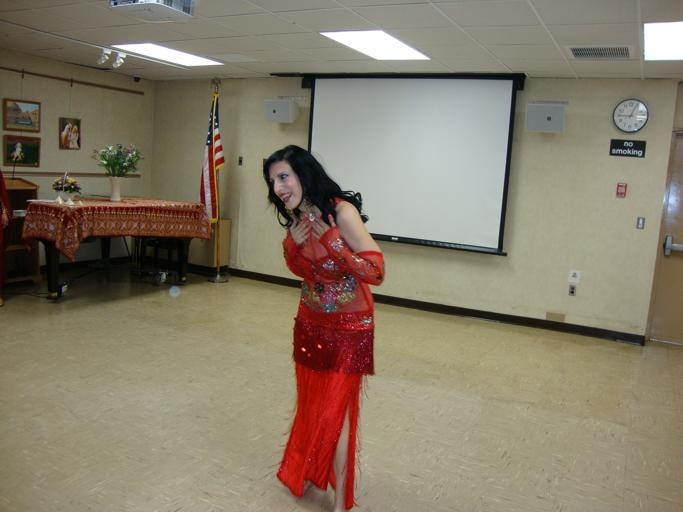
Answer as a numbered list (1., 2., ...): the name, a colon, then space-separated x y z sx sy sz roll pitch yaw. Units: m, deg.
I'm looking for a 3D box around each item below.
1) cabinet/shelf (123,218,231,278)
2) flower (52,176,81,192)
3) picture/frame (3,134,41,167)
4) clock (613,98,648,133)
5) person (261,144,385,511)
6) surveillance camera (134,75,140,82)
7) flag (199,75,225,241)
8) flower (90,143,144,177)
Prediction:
1. cabinet/shelf: -2.644 -0.126 8.521 1.385 1.027 0.821 7 -3 29
2. flower: -3.813 -0.961 6.685 0.355 0.244 0.380 -2 4 -14
3. picture/frame: -4.990 -1.628 7.526 0.051 0.485 0.506 0 3 31
4. clock: 3.622 -1.757 6.095 0.358 0.446 0.027 18 48 43
5. person: -0.121 0.478 2.954 0.696 2.208 0.421 4 11 6
6. surveillance camera: -3.740 -3.210 8.838 0.080 0.069 0.069 0 -6 -15
7. flag: -2.135 -1.634 8.053 0.372 2.241 0.937 0 11 -14
8. flower: -3.706 -1.553 7.884 0.687 0.556 0.748 2 9 9
